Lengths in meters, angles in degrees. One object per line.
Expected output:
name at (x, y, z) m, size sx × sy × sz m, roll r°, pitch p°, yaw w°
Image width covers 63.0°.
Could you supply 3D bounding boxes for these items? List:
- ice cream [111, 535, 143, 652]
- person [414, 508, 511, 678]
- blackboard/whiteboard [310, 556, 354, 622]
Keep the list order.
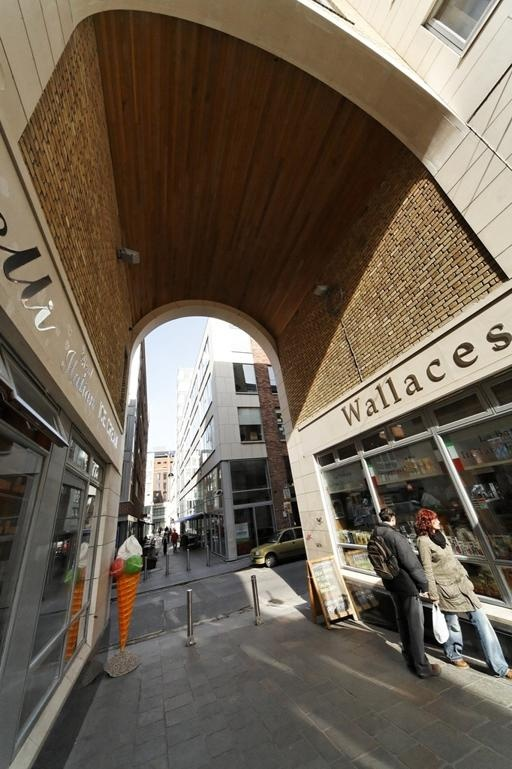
ice cream at (-2.386, -0.171, 7.715) m, size 0.283 × 0.294 × 1.199 m, roll -2°, pitch -60°, yaw -25°
person at (2.859, -0.064, 6.149) m, size 0.853 × 1.767 × 0.391 m, roll -14°, pitch -20°, yaw 7°
blackboard/whiteboard at (1.415, -0.142, 8.148) m, size 0.542 × 1.003 × 0.454 m, roll 3°, pitch -45°, yaw -29°
